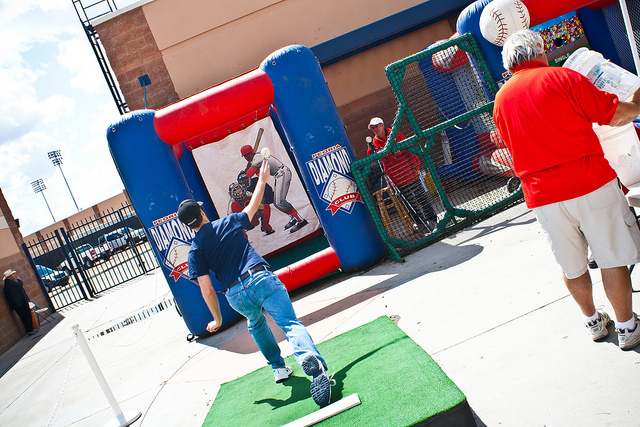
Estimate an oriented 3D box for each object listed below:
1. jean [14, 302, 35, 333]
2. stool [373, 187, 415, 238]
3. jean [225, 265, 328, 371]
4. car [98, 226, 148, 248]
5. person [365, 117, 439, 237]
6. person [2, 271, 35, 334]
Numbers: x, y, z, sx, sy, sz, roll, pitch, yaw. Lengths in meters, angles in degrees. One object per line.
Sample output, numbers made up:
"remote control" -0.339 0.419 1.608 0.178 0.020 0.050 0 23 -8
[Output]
"jean" -8.632 3.097 14.982 0.349 1.032 0.287 -22 4 -22
"stool" 1.347 0.051 9.586 0.570 1.069 0.273 -23 -19 -15
"jean" -0.544 1.289 6.087 0.510 1.350 0.999 -23 4 -38
"car" -8.617 1.040 22.188 2.116 0.843 1.094 -15 7 19
"person" 1.521 -0.724 9.505 0.838 2.163 1.356 -19 4 11
"person" -8.853 2.650 14.940 0.581 2.167 0.676 -22 4 -24
